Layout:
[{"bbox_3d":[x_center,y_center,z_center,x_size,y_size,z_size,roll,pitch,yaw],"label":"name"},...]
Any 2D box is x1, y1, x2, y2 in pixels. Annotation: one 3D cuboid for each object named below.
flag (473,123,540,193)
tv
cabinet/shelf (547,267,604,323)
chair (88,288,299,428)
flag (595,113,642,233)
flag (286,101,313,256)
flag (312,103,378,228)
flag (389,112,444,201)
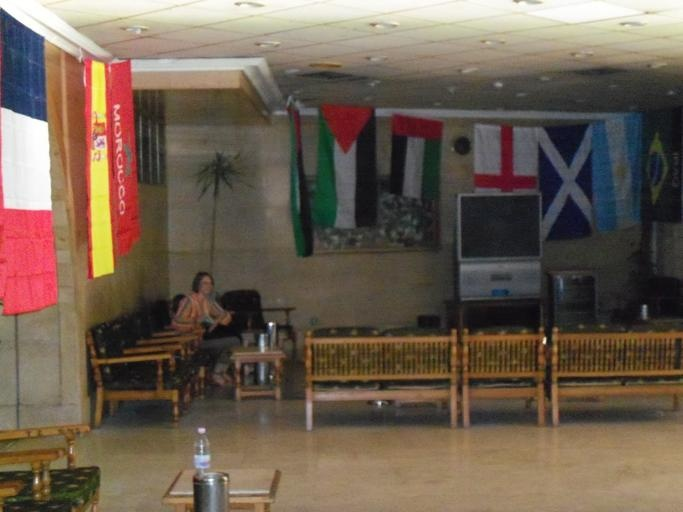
[{"bbox_3d":[2.289,-1.355,13.033,1.181,1.026,0.150,1,6,-5],"label":"flag"},{"bbox_3d":[2.136,-0.404,12.740,1.144,0.776,0.360,0,-3,-1],"label":"tv"},{"bbox_3d":[3.537,0.602,13.290,0.620,0.744,0.647,-2,0,43],"label":"cabinet/shelf"},{"bbox_3d":[-2.098,1.155,10.718,1.042,1.237,2.256,-1,13,1],"label":"chair"},{"bbox_3d":[3.719,-1.164,12.913,0.364,1.620,0.789,-10,17,-26],"label":"flag"},{"bbox_3d":[-0.517,-0.885,11.755,0.215,1.913,0.363,-5,15,1],"label":"flag"},{"bbox_3d":[0.064,-1.189,12.610,1.000,1.692,0.187,-8,17,-22],"label":"flag"},{"bbox_3d":[1.036,-1.385,13.007,0.786,1.170,0.305,-4,16,-7],"label":"flag"}]
